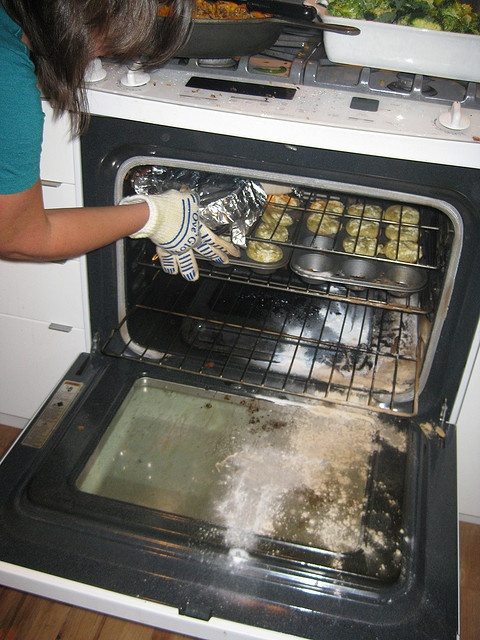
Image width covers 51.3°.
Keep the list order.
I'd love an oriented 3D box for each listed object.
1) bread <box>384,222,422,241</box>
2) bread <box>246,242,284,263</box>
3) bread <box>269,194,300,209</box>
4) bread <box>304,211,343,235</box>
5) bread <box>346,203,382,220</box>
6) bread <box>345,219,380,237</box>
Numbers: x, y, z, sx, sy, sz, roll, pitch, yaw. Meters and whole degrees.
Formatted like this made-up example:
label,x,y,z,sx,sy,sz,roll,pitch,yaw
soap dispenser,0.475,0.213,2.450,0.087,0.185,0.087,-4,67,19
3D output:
label,x,y,z,sx,sy,sz,roll,pitch,yaw
bread,0.420,-0.224,1.282,0.083,0.025,0.084,6,46,11
bread,0.061,-0.171,1.255,0.067,0.014,0.064,7,44,4
bread,0.120,-0.317,1.341,0.079,0.016,0.048,6,72,-2
bread,0.226,-0.258,1.330,0.084,0.025,0.072,14,49,15
bread,0.330,-0.283,1.307,0.094,0.022,0.073,4,43,9
bread,0.320,-0.248,1.264,0.074,0.024,0.079,-7,38,1
